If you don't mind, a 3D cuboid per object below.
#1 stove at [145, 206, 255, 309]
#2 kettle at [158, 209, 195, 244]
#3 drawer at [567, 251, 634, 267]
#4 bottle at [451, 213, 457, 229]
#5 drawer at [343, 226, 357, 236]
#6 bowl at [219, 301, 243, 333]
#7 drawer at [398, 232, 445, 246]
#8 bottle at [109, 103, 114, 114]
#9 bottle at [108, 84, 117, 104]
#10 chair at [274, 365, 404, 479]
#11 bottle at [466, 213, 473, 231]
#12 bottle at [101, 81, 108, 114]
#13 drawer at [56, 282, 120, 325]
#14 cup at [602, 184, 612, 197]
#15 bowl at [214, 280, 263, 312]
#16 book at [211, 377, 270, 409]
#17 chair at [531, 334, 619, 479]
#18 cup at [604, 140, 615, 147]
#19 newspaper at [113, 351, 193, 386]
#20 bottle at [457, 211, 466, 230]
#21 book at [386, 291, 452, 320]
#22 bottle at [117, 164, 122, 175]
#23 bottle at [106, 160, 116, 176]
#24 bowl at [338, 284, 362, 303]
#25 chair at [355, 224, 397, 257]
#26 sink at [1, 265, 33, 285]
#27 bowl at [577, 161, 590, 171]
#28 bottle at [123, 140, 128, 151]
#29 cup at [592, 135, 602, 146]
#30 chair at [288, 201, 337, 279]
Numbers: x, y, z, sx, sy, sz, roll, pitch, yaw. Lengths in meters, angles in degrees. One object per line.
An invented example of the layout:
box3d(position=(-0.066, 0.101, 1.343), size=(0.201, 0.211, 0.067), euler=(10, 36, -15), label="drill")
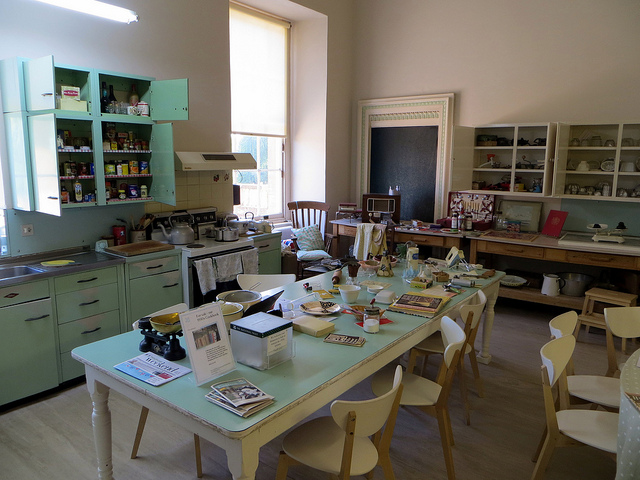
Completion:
box3d(position=(-1.321, 0.249, 5.220), size=(0.957, 1.140, 0.884), euler=(-9, 20, -43), label="stove")
box3d(position=(-1.553, -0.139, 4.886), size=(0.384, 0.360, 0.252), euler=(-9, 16, -40), label="kettle")
box3d(position=(3.147, 0.216, 5.076), size=(0.629, 0.140, 0.039), euler=(4, 11, 27), label="drawer")
box3d(position=(1.850, -0.264, 6.245), size=(0.074, 0.186, 0.278), euler=(2, 10, 15), label="bottle")
box3d(position=(0.426, -0.139, 6.572), size=(0.190, 0.125, 0.050), euler=(3, 11, 22), label="drawer")
box3d(position=(-0.580, 0.503, 2.954), size=(0.170, 0.087, 0.191), euler=(1, 2, 2), label="bowl")
box3d(position=(1.368, -0.009, 6.153), size=(0.642, 0.154, 0.115), euler=(3, 11, 24), label="drawer")
box3d(position=(-2.020, -1.277, 4.369), size=(0.036, 0.096, 0.022), euler=(-6, 11, -22), label="bottle")
box3d(position=(-2.085, -1.473, 4.503), size=(0.055, 0.184, 0.196), euler=(-5, 11, -20), label="bottle")
box3d(position=(0.120, 1.146, 2.591), size=(0.668, 0.786, 0.467), euler=(1, 10, 13), label="chair")
box3d(position=(2.050, -0.246, 6.222), size=(0.080, 0.194, 0.353), euler=(2, 10, 18), label="bottle")
box3d(position=(-2.105, -1.388, 4.413), size=(0.059, 0.289, 0.257), euler=(-5, 11, -18), label="bottle")
box3d(position=(-2.096, 0.521, 4.057), size=(0.295, 0.195, 0.410), euler=(5, 10, 34), label="drawer")
box3d(position=(3.462, -0.593, 5.454), size=(0.101, 0.140, 0.141), euler=(5, 12, 32), label="cup")
box3d(position=(-0.532, 0.431, 3.204), size=(0.385, 0.167, 0.345), euler=(-5, 13, -31), label="bowl")
box3d(position=(-0.429, 0.815, 2.390), size=(0.312, 0.315, 0.036), euler=(-12, 41, 3), label="book")
box3d(position=(1.659, 1.133, 2.942), size=(0.484, 1.034, 0.718), euler=(5, 12, 30), label="chair")
box3d(position=(3.462, -1.158, 5.407), size=(0.101, 0.091, 0.250), euler=(5, 11, 31), label="cup")
box3d(position=(-0.961, 0.742, 2.595), size=(0.415, 0.056, 0.217), euler=(4, 11, 29), label="newspaper")
box3d(position=(1.935, -0.235, 6.187), size=(0.110, 0.171, 0.198), euler=(2, 10, 16), label="bottle")
box3d(position=(0.754, 0.496, 3.448), size=(0.236, 0.037, 0.263), euler=(6, 18, 36), label="book")
box3d(position=(-1.995, -0.702, 4.492), size=(0.043, 0.099, 0.053), euler=(-4, 10, -14), label="bottle")
box3d(position=(-2.078, -0.719, 4.492), size=(0.087, 0.155, 0.254), euler=(-5, 10, -21), label="bottle")
box3d(position=(0.243, 0.420, 3.533), size=(0.144, 0.088, 0.127), euler=(-2, 2, -35), label="bowl")
box3d(position=(0.666, 0.043, 5.907), size=(0.474, 0.507, 0.379), euler=(4, 3, 0), label="chair")
box3d(position=(-2.579, 0.277, 3.833), size=(0.204, 0.126, 0.202), euler=(-10, 19, -44), label="sink")
box3d(position=(3.226, -0.909, 5.556), size=(0.118, 0.127, 0.133), euler=(5, 8, 20), label="bowl")
box3d(position=(-1.961, -0.951, 4.548), size=(0.044, 0.102, 0.066), euler=(-1, 10, 2), label="bottle")
box3d(position=(3.390, -1.224, 5.537), size=(0.087, 0.134, 0.090), euler=(-1, 10, 0), label="cup")
box3d(position=(-0.114, 0.044, 6.496), size=(0.721, 1.110, 0.791), euler=(-6, 15, -22), label="chair")
